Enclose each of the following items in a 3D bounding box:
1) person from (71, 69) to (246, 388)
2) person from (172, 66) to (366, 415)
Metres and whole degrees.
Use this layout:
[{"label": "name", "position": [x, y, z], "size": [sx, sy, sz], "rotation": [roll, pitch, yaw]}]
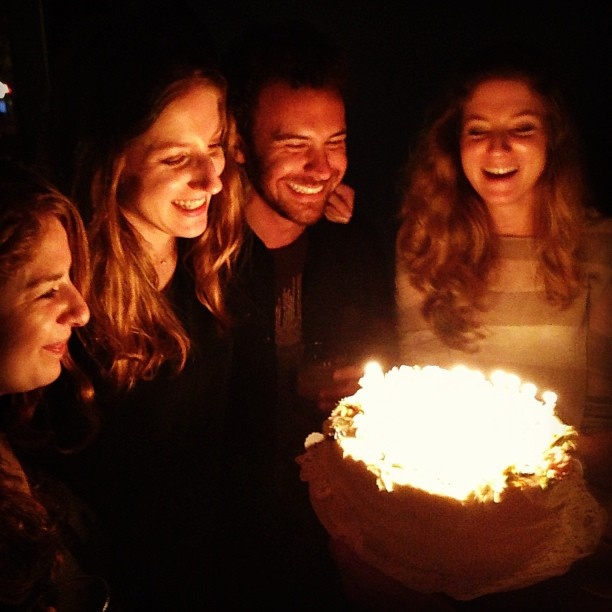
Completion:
[{"label": "person", "position": [-0.663, -0.325, 3.429], "size": [0.817, 1.507, 0.461], "rotation": [-1, 5, -24]}, {"label": "person", "position": [-0.066, -0.463, 4.108], "size": [1.180, 1.379, 0.508], "rotation": [1, 14, 1]}]
